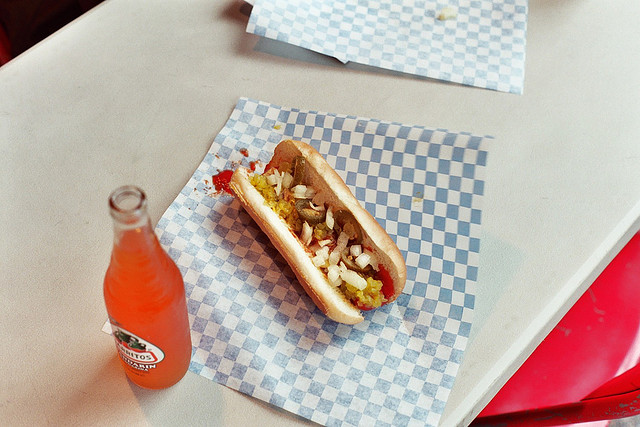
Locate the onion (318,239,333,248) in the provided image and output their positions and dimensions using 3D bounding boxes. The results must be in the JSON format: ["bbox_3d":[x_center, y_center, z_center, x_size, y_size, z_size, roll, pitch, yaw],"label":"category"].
[{"bbox_3d":[0.020,0.121,2.227,0.042,0.012,0.029,-16,67,-14],"label":"onion"}]

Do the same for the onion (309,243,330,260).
[{"bbox_3d":[-0.001,0.154,2.225,0.058,0.061,0.017,5,9,30],"label":"onion"}]

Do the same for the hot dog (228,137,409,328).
[{"bbox_3d":[-0.067,0.027,2.409,0.509,0.308,0.942,-37,82,-11],"label":"hot dog"}]

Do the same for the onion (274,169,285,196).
[{"bbox_3d":[-0.178,-0.130,2.314,0.048,0.049,0.130,29,43,-34],"label":"onion"}]

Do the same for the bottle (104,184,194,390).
[{"bbox_3d":[-0.556,0.279,1.704,0.249,0.808,0.158,-12,44,-17],"label":"bottle"}]

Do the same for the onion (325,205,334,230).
[{"bbox_3d":[0.040,0.013,2.245,0.036,0.015,0.071,15,71,-42],"label":"onion"}]

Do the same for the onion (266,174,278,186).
[{"bbox_3d":[-0.206,-0.145,2.303,0.038,0.032,0.040,1,47,3],"label":"onion"}]

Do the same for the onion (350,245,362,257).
[{"bbox_3d":[0.143,0.149,2.192,0.039,0.035,0.041,3,82,15],"label":"onion"}]

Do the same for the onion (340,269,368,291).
[{"bbox_3d":[0.132,0.258,2.125,0.099,0.024,0.056,38,79,25],"label":"onion"}]
